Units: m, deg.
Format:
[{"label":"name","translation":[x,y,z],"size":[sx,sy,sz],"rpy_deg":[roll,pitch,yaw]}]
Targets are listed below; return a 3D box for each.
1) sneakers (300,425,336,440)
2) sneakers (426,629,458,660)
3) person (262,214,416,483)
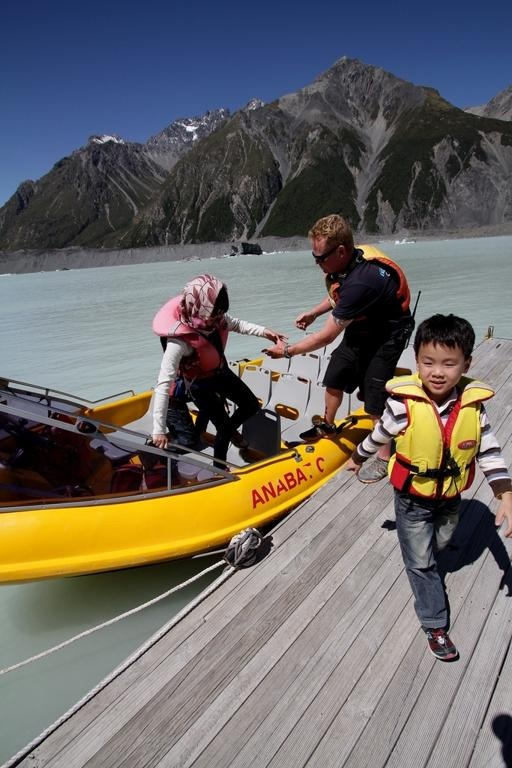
[{"label":"sneakers","translation":[0.497,0.400,4.239],"size":[0.330,0.140,0.105],"rpy_deg":[-9,47,-4]},{"label":"sneakers","translation":[0.827,1.178,2.340],"size":[0.076,0.067,0.168],"rpy_deg":[-9,34,-12]},{"label":"person","translation":[0.594,-0.230,3.717],"size":[1.110,1.823,0.752],"rpy_deg":[-12,26,-19]}]
